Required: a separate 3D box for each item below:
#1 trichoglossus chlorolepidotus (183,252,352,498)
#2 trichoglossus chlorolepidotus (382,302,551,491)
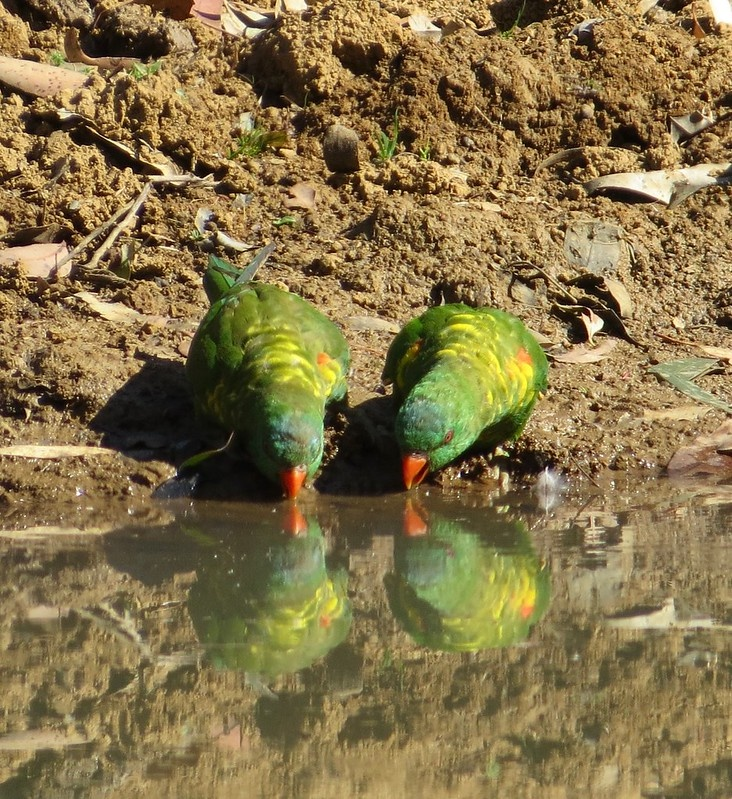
[{"bbox_3d":[-0.406,-0.124,7.191,0.599,1.167,0.494,-2,-18,-22],"label":"trichoglossus chlorolepidotus"},{"bbox_3d":[0.438,-0.092,7.147,0.549,0.987,0.438,4,-33,22],"label":"trichoglossus chlorolepidotus"}]
